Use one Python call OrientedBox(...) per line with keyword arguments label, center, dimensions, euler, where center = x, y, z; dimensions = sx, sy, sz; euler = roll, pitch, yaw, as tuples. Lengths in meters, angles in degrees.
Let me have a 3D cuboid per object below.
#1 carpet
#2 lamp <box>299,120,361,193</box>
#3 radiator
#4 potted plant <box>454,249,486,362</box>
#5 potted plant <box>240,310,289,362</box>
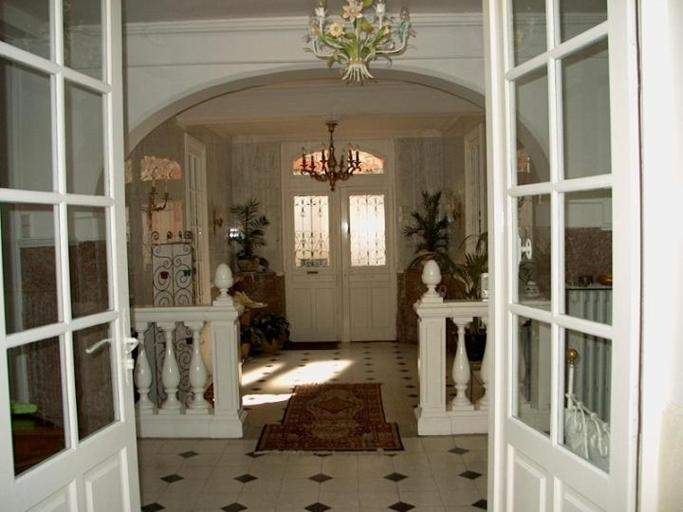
OrientedBox(label="carpet", center=(-0.101, 1.497, 5.802), dimensions=(1.214, 0.021, 1.850), euler=(-1, 4, 0))
OrientedBox(label="lamp", center=(-0.159, -1.354, 8.038), dimensions=(0.718, 0.982, 0.781), euler=(-1, 5, 12))
OrientedBox(label="radiator", center=(0.990, 0.380, 2.451), dimensions=(0.074, 0.433, 0.239), euler=(2, 2, 27))
OrientedBox(label="potted plant", center=(1.307, 0.426, 6.029), dimensions=(0.400, 1.158, 0.451), euler=(-2, 4, 22))
OrientedBox(label="potted plant", center=(-1.102, 1.090, 8.641), dimensions=(0.517, 0.414, 0.564), euler=(-1, -1, 1))
